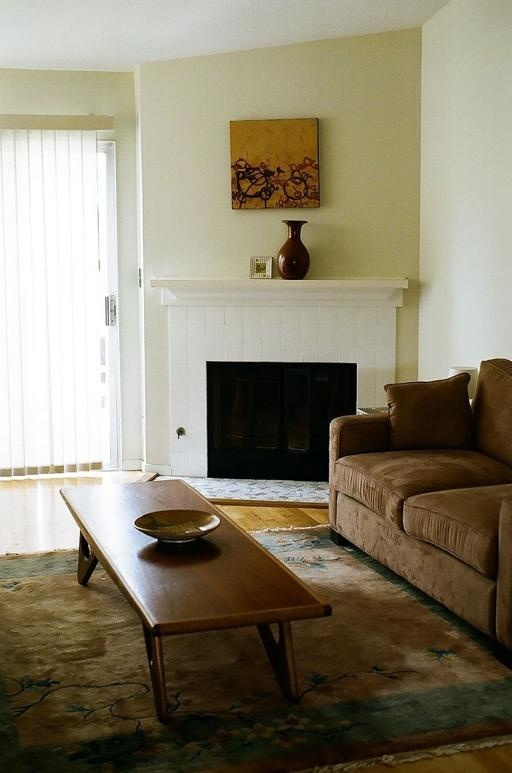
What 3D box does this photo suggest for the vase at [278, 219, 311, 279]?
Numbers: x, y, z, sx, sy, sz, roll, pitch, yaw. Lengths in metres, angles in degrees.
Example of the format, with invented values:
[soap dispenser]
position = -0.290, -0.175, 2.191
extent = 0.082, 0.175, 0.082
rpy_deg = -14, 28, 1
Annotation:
[vase]
position = 0.243, -0.865, 4.047
extent = 0.212, 0.379, 0.215
rpy_deg = 0, 2, 2

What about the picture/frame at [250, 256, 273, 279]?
[picture/frame]
position = 0.039, -0.775, 4.127
extent = 0.151, 0.139, 0.083
rpy_deg = 0, 2, -3

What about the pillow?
[pillow]
position = 0.768, 0.119, 2.862
extent = 0.411, 0.404, 0.143
rpy_deg = -7, 18, -7
